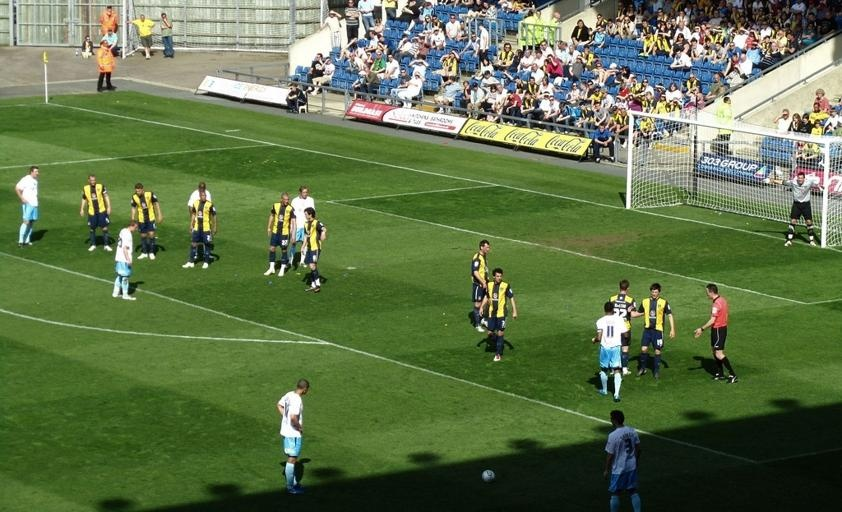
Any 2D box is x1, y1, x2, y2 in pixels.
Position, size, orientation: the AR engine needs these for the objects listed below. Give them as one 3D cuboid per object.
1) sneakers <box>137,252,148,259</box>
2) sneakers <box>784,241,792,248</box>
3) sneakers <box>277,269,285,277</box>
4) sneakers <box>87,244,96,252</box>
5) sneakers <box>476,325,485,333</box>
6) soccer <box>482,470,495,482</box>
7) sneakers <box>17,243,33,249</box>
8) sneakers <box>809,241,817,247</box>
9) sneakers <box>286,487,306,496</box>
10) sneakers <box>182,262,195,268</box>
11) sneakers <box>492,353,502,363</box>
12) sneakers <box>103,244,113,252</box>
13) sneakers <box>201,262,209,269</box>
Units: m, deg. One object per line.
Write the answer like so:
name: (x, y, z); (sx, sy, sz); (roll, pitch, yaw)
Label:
sneakers: (-9.749, -0.002, 48.842); (0.312, 0.186, 0.370); (3, 10, -8)
sneakers: (13.409, -0.464, 51.267); (0.163, 0.133, 0.371); (10, 19, 33)
sneakers: (-4.752, 0.546, 47.611); (0.203, 0.264, 0.312); (5, 10, -4)
sneakers: (-11.596, -0.282, 49.310); (0.229, 0.223, 0.352); (2, 10, -15)
sneakers: (1.887, 2.279, 44.025); (0.217, 0.215, 0.243); (-1, 12, -31)
soccer: (1.788, 5.868, 37.496); (0.398, 0.253, 0.435); (6, 10, 7)
sneakers: (-13.998, -0.414, 49.429); (0.525, 0.184, 0.145); (-2, 47, -3)
sneakers: (14.430, -0.466, 51.343); (0.149, 0.243, 0.413); (-14, 12, -33)
sneakers: (-3.335, 6.209, 36.936); (0.459, 0.154, 0.162); (-1, 7, -5)
sneakers: (-7.999, 0.316, 48.134); (0.444, 0.161, 0.167); (0, 8, 7)
sneakers: (2.291, 3.099, 42.422); (0.324, 0.169, 0.481); (0, 3, 3)
sneakers: (-11.037, -0.280, 49.241); (0.314, 0.123, 0.181); (14, 27, 42)
sneakers: (-7.418, 0.311, 48.108); (0.230, 0.196, 0.275); (4, 10, -7)
